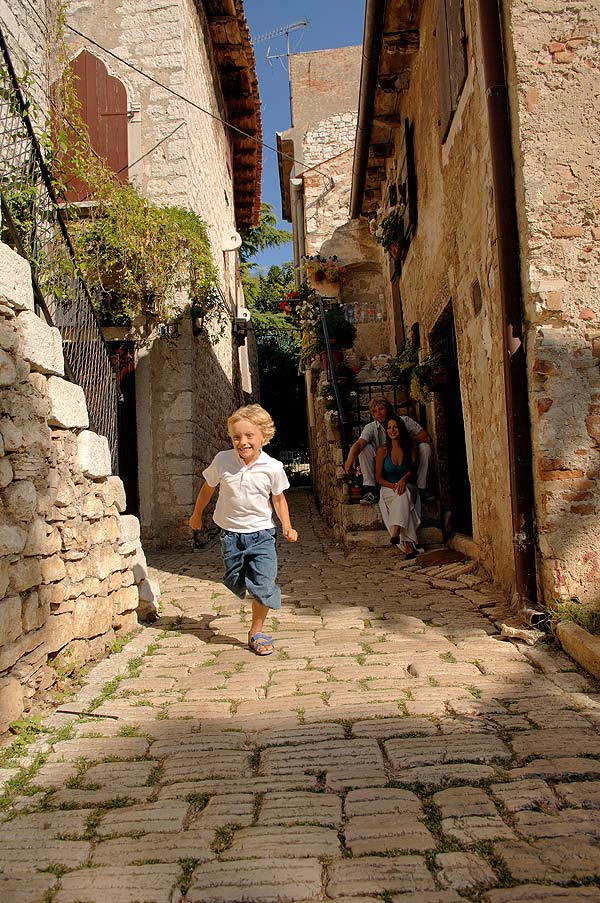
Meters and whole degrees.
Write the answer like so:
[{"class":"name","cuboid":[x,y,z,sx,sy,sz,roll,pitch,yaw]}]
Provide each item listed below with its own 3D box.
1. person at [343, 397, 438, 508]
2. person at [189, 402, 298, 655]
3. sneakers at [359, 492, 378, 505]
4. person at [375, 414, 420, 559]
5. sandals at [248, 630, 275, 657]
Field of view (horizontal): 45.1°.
[{"class":"person","cuboid":[0.822,-0.040,6.965,0.839,0.976,0.741,-9,2,-3]},{"class":"person","cuboid":[-0.283,0.385,3.671,0.513,1.103,0.301,-3,-1,3]},{"class":"sneakers","cuboid":[0.649,0.443,6.788,0.078,0.092,0.218,-3,-15,25]},{"class":"person","cuboid":[0.858,0.292,6.414,0.370,1.185,0.619,-4,-1,9]},{"class":"sandals","cuboid":[-0.197,0.955,3.621,0.115,0.096,0.260,-3,-1,-11]}]
